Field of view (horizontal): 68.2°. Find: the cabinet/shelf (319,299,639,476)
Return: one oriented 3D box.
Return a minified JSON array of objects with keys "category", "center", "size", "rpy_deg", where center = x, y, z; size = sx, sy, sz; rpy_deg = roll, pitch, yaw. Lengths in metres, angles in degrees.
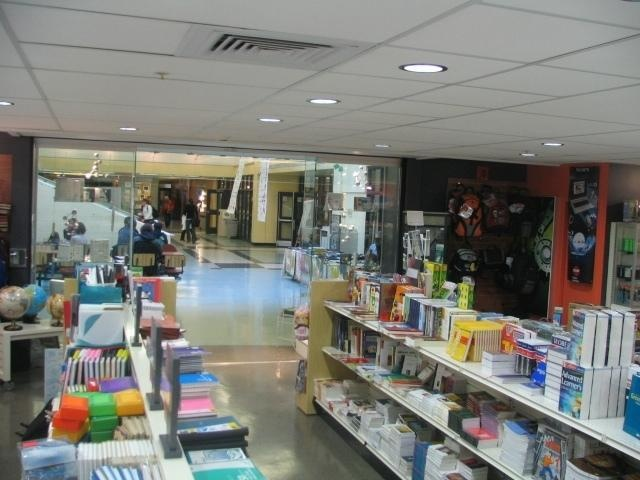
[{"category":"cabinet/shelf","center":[1.169,0.937,3.355],"size":[0.276,0.108,2.263],"rpy_deg":[0,5,-26]}]

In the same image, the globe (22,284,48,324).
[{"category":"globe","center":[-4.067,0.889,6.650],"size":[0.390,0.466,0.399],"rpy_deg":[7,5,43]}]

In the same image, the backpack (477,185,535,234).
[{"category":"backpack","center":[3.436,-0.570,8.875],"size":[1.058,0.856,0.376],"rpy_deg":[2,5,-9]}]
